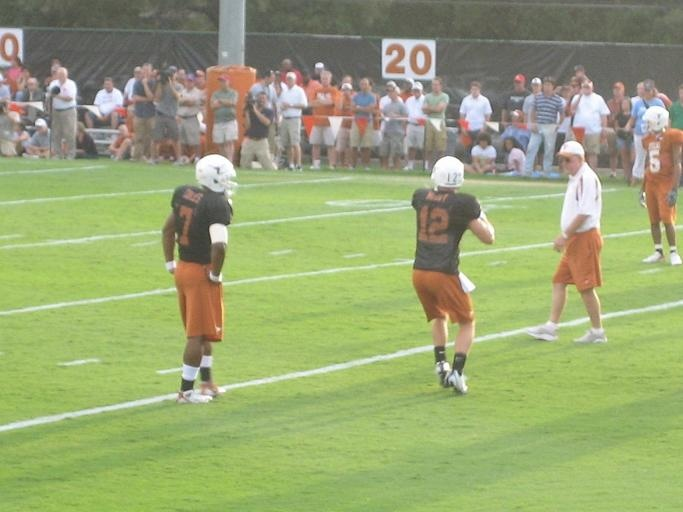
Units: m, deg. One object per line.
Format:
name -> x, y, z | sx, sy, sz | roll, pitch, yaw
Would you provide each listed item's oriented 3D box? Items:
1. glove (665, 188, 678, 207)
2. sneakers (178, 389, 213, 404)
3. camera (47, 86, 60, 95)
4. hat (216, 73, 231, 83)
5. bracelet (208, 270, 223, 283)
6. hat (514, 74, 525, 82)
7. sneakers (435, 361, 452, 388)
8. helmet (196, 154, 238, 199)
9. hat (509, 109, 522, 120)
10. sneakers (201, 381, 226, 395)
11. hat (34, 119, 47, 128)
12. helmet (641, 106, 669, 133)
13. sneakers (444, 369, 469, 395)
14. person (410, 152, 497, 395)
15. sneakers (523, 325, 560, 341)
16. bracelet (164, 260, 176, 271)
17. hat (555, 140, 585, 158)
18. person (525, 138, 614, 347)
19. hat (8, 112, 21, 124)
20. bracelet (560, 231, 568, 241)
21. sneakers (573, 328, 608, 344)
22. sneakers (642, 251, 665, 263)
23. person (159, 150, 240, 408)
glove -> 4.706, -0.816, 19.157 | 0.117, 0.279, 0.201 | 2, 15, 4
sneakers -> -1.498, 1.443, 13.717 | 0.310, 0.110, 0.143 | -3, 6, -6
camera -> -6.258, -3.627, 29.436 | 0.115, 0.129, 0.316 | -24, 0, -31
hat -> -2.552, -3.893, 29.356 | 0.187, 0.117, 0.244 | 13, -8, 11
bracelet -> -1.260, 0.212, 13.440 | 0.109, 0.135, 0.130 | -2, 15, -10
hat -> 3.947, -3.981, 29.802 | 0.240, 0.154, 0.334 | 5, 5, 25
sneakers -> 1.066, 1.238, 14.010 | 0.122, 0.304, 0.152 | -3, -9, 7
helmet -> -1.138, -0.747, 13.569 | 0.332, 0.362, 0.411 | 10, -11, -44
hat -> 3.822, -3.088, 29.319 | 0.217, 0.163, 0.308 | 2, 14, 5
sneakers -> -1.319, 1.378, 13.809 | 0.111, 0.076, 0.222 | 8, 7, 43
hat -> -6.800, -3.034, 30.429 | 0.227, 0.141, 0.297 | 7, -9, -3
helmet -> 4.522, -1.964, 19.335 | 0.327, 0.402, 0.536 | 3, 15, 8
sneakers -> 1.183, 1.311, 13.976 | 0.235, 0.254, 0.134 | -7, 2, 6
person -> 1.151, 0.193, 14.075 | 0.680, 2.396, 0.981 | -6, 17, -21
sneakers -> 2.346, 0.907, 15.660 | 0.421, 0.167, 0.156 | 7, 1, -1
bracelet -> -1.751, 0.109, 13.831 | 0.114, 0.070, 0.102 | -1, -4, -8
hat -> 2.724, -1.269, 15.605 | 0.286, 0.179, 0.394 | 0, -5, 37
person -> 2.696, -0.132, 15.528 | 0.877, 2.283, 0.762 | 2, 16, 4
hat -> -7.435, -3.175, 30.699 | 0.131, 0.305, 0.388 | 7, 16, 21
bracelet -> 2.541, -0.222, 15.316 | 0.081, 0.069, 0.071 | -5, 33, 2
sneakers -> 2.910, 0.942, 15.554 | 0.461, 0.177, 0.141 | 0, 5, 6
sneakers -> 4.497, 0.030, 19.527 | 0.381, 0.135, 0.116 | -3, 14, -4
person -> -1.422, 0.241, 13.634 | 0.738, 2.482, 0.739 | -1, 16, -7
